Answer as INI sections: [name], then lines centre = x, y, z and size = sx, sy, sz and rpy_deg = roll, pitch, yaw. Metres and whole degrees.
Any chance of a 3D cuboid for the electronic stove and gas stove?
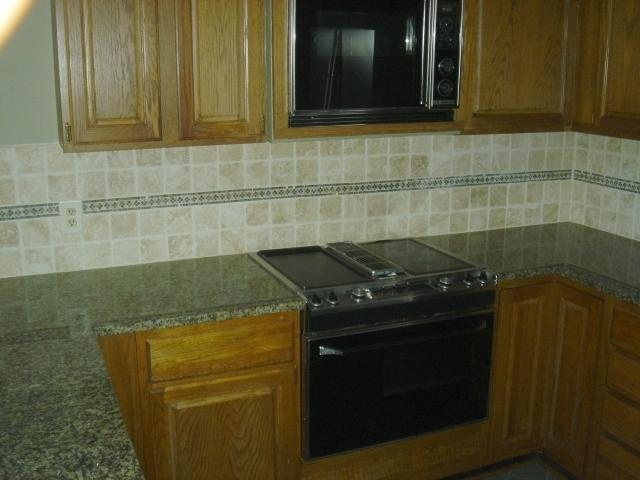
[electronic stove and gas stove]
centre = 0.253, 0.133, 2.847
size = 0.956, 0.111, 0.880
rpy_deg = -1, 14, -13
